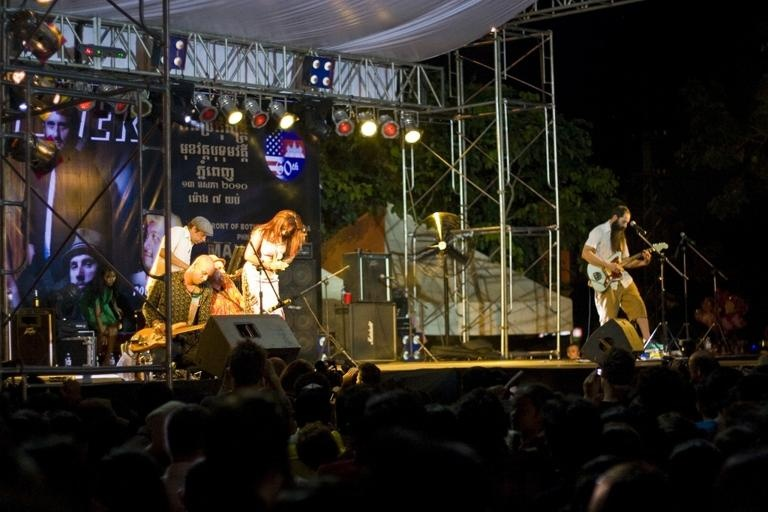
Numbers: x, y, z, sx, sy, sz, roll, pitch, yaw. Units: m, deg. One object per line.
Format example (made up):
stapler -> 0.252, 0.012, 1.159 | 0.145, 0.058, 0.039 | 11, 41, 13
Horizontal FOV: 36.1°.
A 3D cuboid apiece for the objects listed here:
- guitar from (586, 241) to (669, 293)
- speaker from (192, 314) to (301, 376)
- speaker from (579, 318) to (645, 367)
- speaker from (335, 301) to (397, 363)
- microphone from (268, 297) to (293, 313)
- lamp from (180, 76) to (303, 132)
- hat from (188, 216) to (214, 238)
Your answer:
guitar -> 3.479, 0.018, 17.191 | 1.815, 0.902, 0.800 | -1, -6, 11
speaker -> -1.762, 1.019, 15.030 | 0.879, 0.659, 1.149 | -13, -12, 43
speaker -> 2.916, 1.079, 15.243 | 0.655, 0.546, 0.806 | -3, -10, 31
speaker -> -0.306, 1.188, 18.630 | 0.919, 0.933, 0.913 | -1, 3, 2
microphone -> -1.655, 0.794, 18.997 | 0.394, 0.099, 0.117 | -31, -3, 38
lamp -> -2.381, -2.391, 19.193 | 1.959, 0.589, 0.797 | 3, -7, -31
hat -> -2.937, -0.504, 19.154 | 0.363, 0.254, 0.174 | 29, -62, -24
